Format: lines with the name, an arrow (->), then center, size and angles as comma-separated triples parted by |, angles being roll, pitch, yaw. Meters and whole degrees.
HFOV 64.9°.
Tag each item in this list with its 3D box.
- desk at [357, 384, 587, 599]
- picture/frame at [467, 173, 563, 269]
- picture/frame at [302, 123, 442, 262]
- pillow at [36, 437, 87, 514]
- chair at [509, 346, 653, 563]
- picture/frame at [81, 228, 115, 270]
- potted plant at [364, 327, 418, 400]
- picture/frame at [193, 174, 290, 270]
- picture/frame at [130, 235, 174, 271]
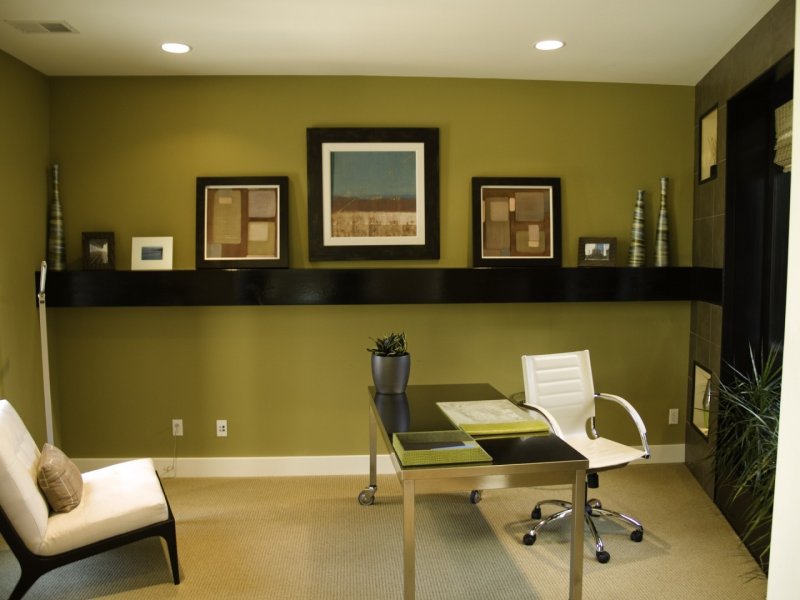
desk -> 0.406, 0.625, 3.474 | 0.921, 0.800, 1.583 | -1, 5, -8
picture/frame -> 0.898, -0.623, 4.992 | 0.681, 0.765, 0.059 | 0, 0, -2
picture/frame -> -0.260, -0.874, 4.934 | 0.970, 1.064, 0.073 | 0, 0, -1
pillow -> -2.034, 1.055, 3.784 | 0.217, 0.339, 0.551 | -15, 9, -28
chair -> 1.183, 0.991, 4.110 | 0.730, 1.193, 0.784 | -3, 4, -19
picture/frame -> -2.338, -0.389, 4.871 | 0.280, 0.378, 0.030 | 0, 0, -3
potted plant -> -0.067, 0.432, 4.271 | 0.246, 0.421, 0.315 | 2, -5, 35
picture/frame -> -1.231, -0.593, 4.901 | 0.648, 0.696, 0.075 | 0, -1, -1
picture/frame -> -1.933, -0.360, 4.895 | 0.246, 0.263, 0.018 | -1, -3, -5
